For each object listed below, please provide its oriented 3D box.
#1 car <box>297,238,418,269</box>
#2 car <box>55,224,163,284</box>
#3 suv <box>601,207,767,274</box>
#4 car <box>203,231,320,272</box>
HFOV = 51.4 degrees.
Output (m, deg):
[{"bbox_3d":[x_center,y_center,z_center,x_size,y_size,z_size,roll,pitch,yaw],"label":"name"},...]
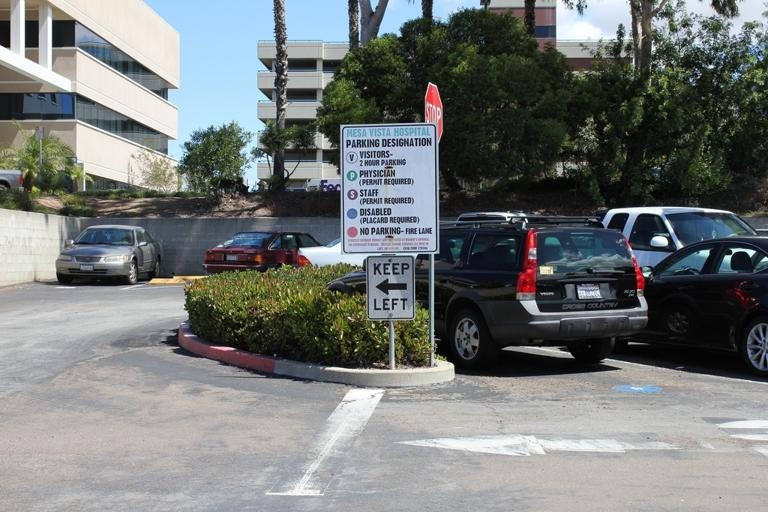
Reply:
[{"bbox_3d":[-0.989,0.005,21.885,2.657,0.922,1.199,-3,1,0],"label":"car"},{"bbox_3d":[-9.438,0.042,27.598,2.118,2.097,3.632,2,8,10],"label":"car"},{"bbox_3d":[5.957,-0.533,16.430,1.651,1.160,2.712,-2,-3,-33],"label":"suv"},{"bbox_3d":[-3.630,-0.120,24.424,1.466,1.065,3.416,3,6,41],"label":"car"}]
